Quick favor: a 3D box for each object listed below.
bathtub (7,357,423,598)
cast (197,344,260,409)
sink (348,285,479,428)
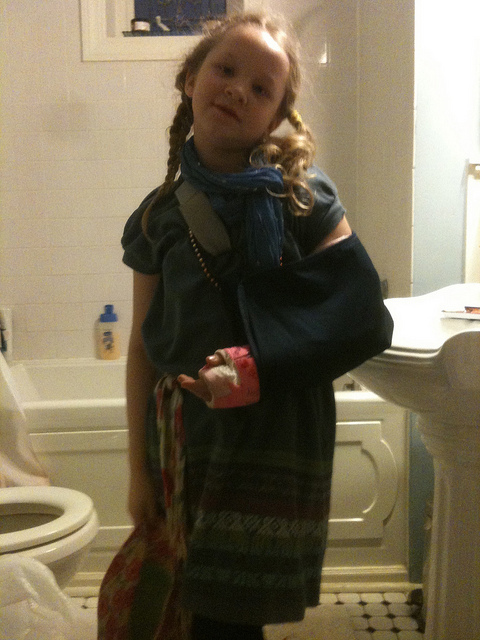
[{"bbox_3d":[-0.163,0.386,2.682,2.106,0.611,1.075,0,7,-2],"label":"bathtub"},{"bbox_3d":[-0.012,0.064,0.744,0.064,0.062,0.034,-4,12,-6],"label":"cast"},{"bbox_3d":[0.327,0.045,1.170,0.246,0.104,0.274,-4,5,13],"label":"sink"}]
